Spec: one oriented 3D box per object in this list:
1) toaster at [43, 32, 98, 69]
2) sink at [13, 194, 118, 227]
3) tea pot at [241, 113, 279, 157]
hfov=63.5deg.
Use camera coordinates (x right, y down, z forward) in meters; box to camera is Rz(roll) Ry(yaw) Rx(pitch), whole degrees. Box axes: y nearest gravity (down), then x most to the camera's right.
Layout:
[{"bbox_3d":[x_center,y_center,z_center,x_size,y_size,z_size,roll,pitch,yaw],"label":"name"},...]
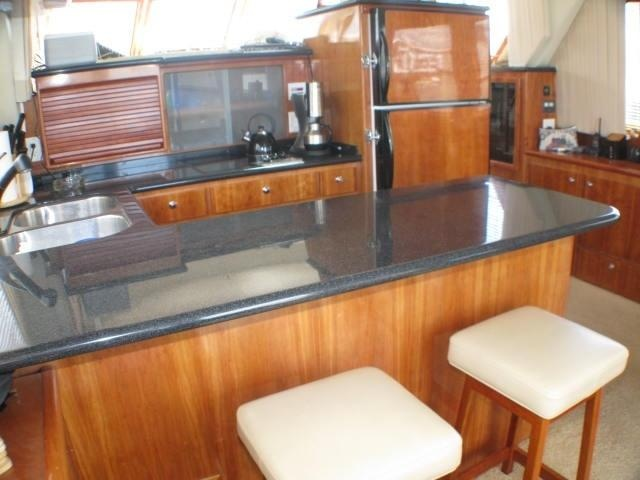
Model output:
[{"bbox_3d":[-1.472,-1.114,3.131,0.309,0.209,0.180,-8,-2,-9],"label":"toaster"},{"bbox_3d":[-1.306,-0.128,2.657,0.306,0.112,0.244,-16,35,-32],"label":"sink"},{"bbox_3d":[-0.429,-0.732,3.638,0.248,0.286,0.483,-5,18,-4],"label":"tea pot"}]
